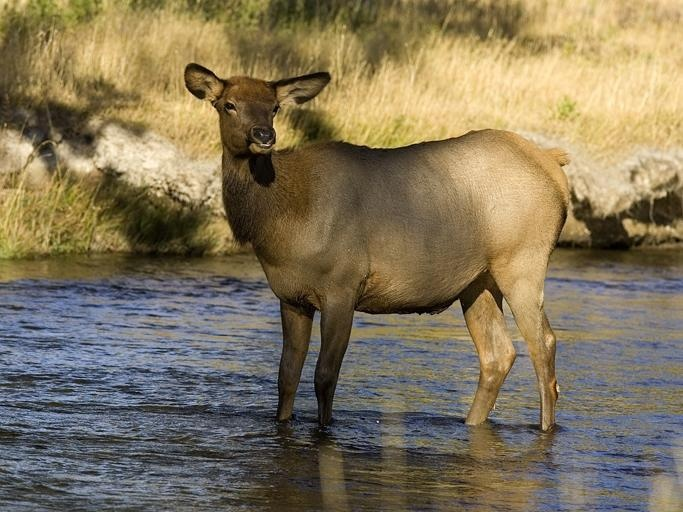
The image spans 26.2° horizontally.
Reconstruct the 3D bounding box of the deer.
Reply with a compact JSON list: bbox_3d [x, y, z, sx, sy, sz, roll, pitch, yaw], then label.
[{"bbox_3d":[0.350,0.125,16.471,4.863,4.133,1.574,-1,4,-28],"label":"deer"}]
